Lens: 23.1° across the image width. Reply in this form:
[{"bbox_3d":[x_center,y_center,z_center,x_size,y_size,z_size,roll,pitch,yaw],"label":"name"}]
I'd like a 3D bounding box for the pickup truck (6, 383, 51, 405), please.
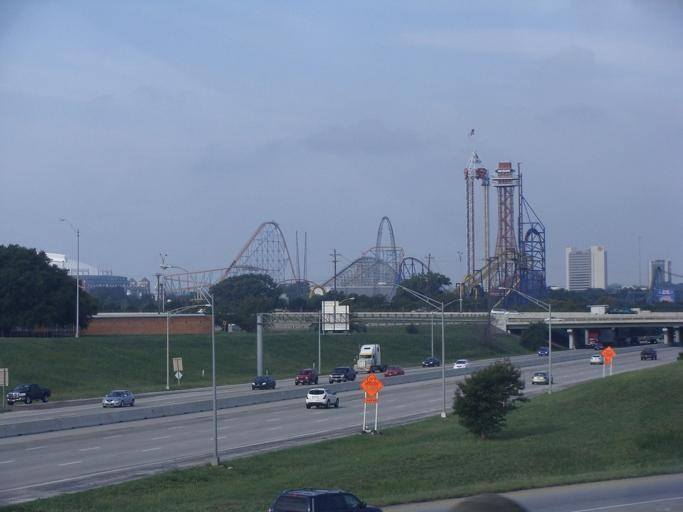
[{"bbox_3d":[-34.321,15.047,183.875,2.082,2.174,4.566,-5,-7,38],"label":"pickup truck"}]

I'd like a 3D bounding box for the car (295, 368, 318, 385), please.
[{"bbox_3d":[-4.187,14.313,199.426,2.503,1.865,3.128,-1,-5,1],"label":"car"}]

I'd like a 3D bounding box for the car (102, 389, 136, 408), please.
[{"bbox_3d":[-24.439,15.342,180.704,2.549,1.316,1.774,3,1,25],"label":"car"}]

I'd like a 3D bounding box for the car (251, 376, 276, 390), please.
[{"bbox_3d":[-9.072,14.575,193.655,2.648,1.624,2.838,-1,-5,-5],"label":"car"}]

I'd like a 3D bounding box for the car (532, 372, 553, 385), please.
[{"bbox_3d":[23.332,14.230,196.212,1.856,1.477,3.239,-1,-5,-7],"label":"car"}]

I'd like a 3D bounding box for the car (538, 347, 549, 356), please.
[{"bbox_3d":[28.895,13.648,239.880,1.047,0.972,1.901,-1,-11,7],"label":"car"}]

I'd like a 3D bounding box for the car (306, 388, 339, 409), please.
[{"bbox_3d":[-2.098,15.177,180.181,3.437,2.128,1.756,3,-6,-38],"label":"car"}]
